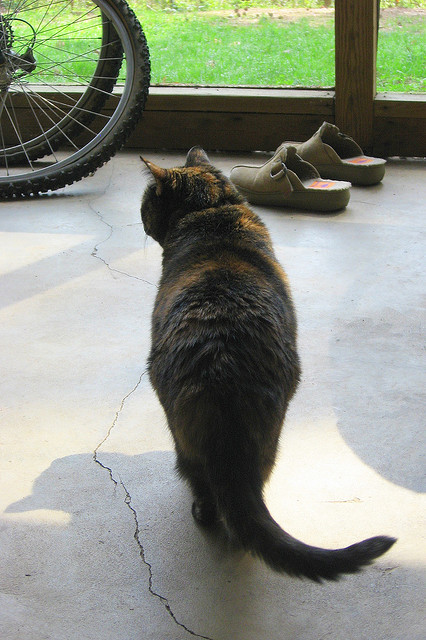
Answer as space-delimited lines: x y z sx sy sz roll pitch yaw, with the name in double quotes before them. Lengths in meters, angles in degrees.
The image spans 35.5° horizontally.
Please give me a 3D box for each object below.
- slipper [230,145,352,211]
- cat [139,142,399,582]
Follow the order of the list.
"slipper" 0.319 -0.619 2.900 0.556 0.215 0.199 14 36 31
"cat" -0.009 -0.010 1.299 0.350 0.428 1.013 -6 45 -7
